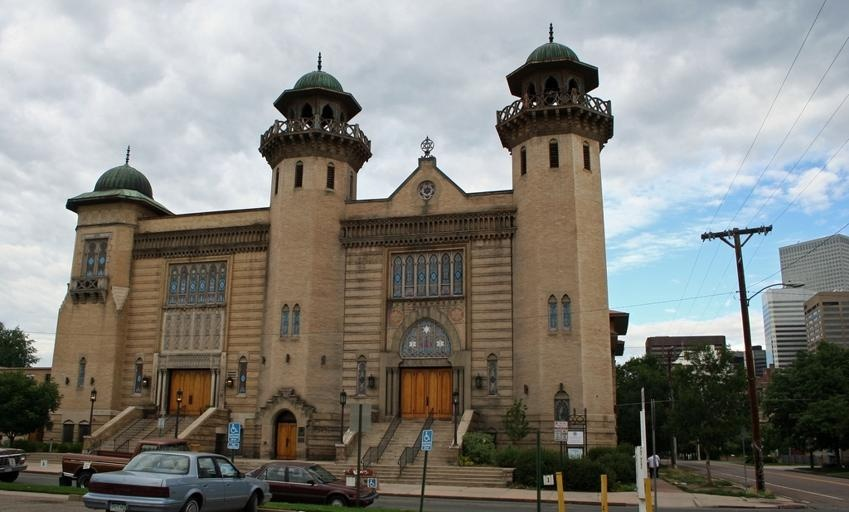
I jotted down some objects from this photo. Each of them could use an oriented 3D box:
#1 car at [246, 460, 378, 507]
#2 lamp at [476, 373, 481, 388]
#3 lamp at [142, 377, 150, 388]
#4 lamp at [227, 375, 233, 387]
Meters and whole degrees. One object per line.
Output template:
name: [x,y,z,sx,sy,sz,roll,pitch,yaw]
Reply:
car: [-6.054,12.517,39.708,6.266,1.603,2.682,-1,-10,11]
lamp: [3.995,9.309,54.560,0.496,0.973,0.204,0,-18,0]
lamp: [-22.452,10.248,59.461,0.692,0.900,0.639,0,-27,-15]
lamp: [-15.305,9.897,57.841,0.488,0.834,0.290,14,-23,-37]
